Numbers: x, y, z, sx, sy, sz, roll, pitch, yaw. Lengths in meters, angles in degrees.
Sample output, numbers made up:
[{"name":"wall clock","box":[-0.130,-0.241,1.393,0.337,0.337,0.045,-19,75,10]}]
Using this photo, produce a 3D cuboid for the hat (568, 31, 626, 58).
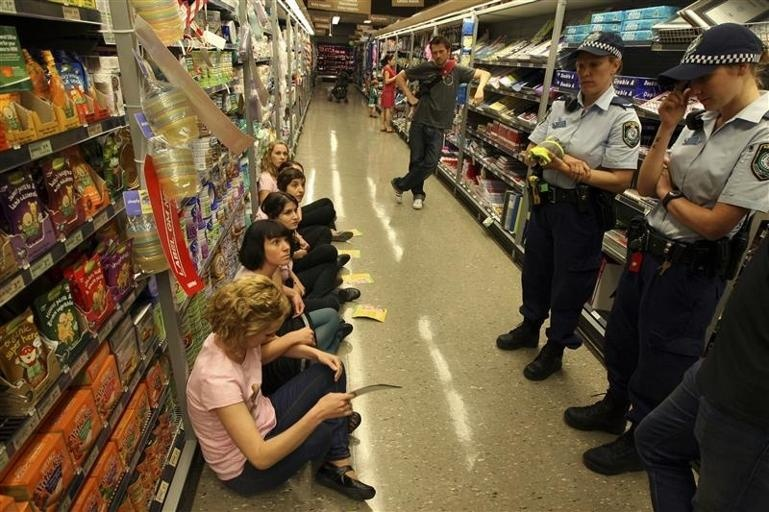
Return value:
[{"name":"hat","box":[1.311,-1.261,2.867,0.240,0.113,0.174,9,28,-20]}]

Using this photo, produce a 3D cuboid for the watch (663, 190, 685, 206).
[{"name":"watch","box":[1.469,-0.291,2.368,0.063,0.059,0.040,-10,43,-20]}]

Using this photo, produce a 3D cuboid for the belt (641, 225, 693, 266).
[{"name":"belt","box":[1.480,-0.036,2.528,0.301,0.141,0.218,18,3,26]}]

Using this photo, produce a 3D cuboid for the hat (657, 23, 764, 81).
[{"name":"hat","box":[1.497,-0.926,2.210,0.409,0.202,0.251,-8,26,11]}]

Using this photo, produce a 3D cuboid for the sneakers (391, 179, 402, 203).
[{"name":"sneakers","box":[0.165,-0.918,6.566,0.171,0.359,0.124,-6,31,2]}]

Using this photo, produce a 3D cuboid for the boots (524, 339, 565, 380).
[{"name":"boots","box":[1.155,0.752,3.366,0.308,0.279,0.141,-8,33,-11]}]
